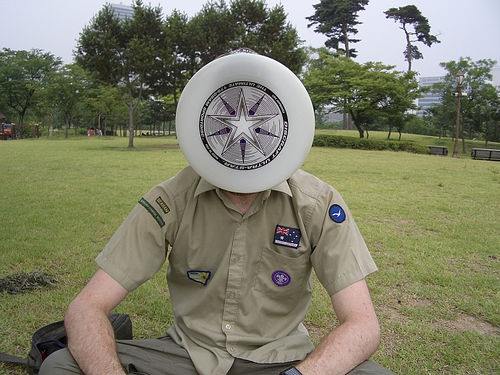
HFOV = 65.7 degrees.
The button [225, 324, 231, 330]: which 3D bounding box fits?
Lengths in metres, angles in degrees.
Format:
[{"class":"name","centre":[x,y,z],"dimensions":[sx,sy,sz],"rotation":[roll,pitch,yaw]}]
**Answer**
[{"class":"button","centre":[-0.120,0.740,2.050],"dimensions":[0.020,0.025,0.005],"rotation":[-2,-7,-8]}]

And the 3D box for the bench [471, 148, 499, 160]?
[{"class":"bench","centre":[13.543,-1.903,22.277],"dimensions":[0.690,0.588,1.641],"rotation":[-4,12,-30]}]

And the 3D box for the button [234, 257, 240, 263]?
[{"class":"button","centre":[-0.069,0.385,2.044],"dimensions":[0.028,0.028,0.007],"rotation":[0,8,-11]}]

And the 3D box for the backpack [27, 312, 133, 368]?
[{"class":"backpack","centre":[-0.906,0.826,2.090],"dimensions":[0.323,0.191,0.459],"rotation":[-14,4,45]}]

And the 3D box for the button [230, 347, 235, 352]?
[{"class":"button","centre":[-0.091,0.853,2.030],"dimensions":[0.024,0.017,0.013],"rotation":[2,9,3]}]

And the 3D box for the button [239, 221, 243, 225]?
[{"class":"button","centre":[-0.049,0.188,2.051],"dimensions":[0.015,0.018,0.004],"rotation":[-4,10,2]}]

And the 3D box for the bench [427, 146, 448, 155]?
[{"class":"bench","centre":[12.388,-2.397,25.335],"dimensions":[0.388,0.555,1.593],"rotation":[-1,11,-12]}]

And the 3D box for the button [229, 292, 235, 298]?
[{"class":"button","centre":[-0.095,0.569,2.044],"dimensions":[0.024,0.030,0.006],"rotation":[1,-7,-8]}]
